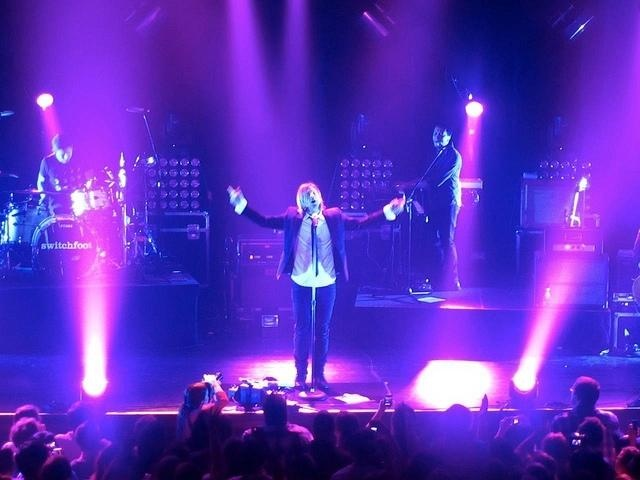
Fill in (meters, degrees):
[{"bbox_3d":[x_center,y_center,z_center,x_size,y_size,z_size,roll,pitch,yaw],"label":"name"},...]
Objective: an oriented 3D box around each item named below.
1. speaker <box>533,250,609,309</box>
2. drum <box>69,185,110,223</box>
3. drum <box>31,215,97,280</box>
[{"bbox_3d":[3.549,0.608,9.821,1.141,0.829,0.647,0,2,-2],"label":"speaker"},{"bbox_3d":[-3.491,-0.571,10.169,0.487,0.399,0.474,-14,10,3],"label":"drum"},{"bbox_3d":[-3.821,0.173,10.138,0.968,0.995,0.976,-3,-21,-19],"label":"drum"}]
